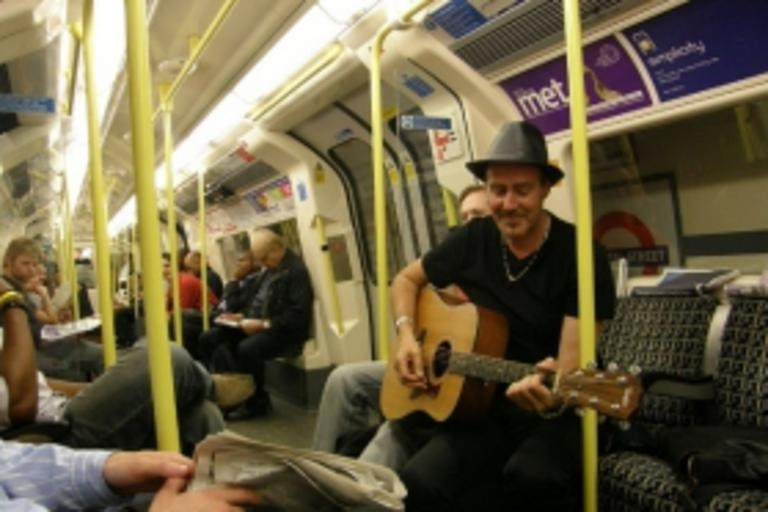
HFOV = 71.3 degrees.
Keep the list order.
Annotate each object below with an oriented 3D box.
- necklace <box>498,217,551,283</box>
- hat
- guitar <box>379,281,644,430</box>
[{"bbox_3d":[0.667,-0.027,2.649,0.185,0.311,0.076,11,3,43],"label":"necklace"},{"bbox_3d":[0.629,-0.496,2.510,0.359,0.189,0.372,14,-12,9],"label":"hat"},{"bbox_3d":[0.434,0.549,2.504,0.187,0.601,1.256,12,1,-38],"label":"guitar"}]
